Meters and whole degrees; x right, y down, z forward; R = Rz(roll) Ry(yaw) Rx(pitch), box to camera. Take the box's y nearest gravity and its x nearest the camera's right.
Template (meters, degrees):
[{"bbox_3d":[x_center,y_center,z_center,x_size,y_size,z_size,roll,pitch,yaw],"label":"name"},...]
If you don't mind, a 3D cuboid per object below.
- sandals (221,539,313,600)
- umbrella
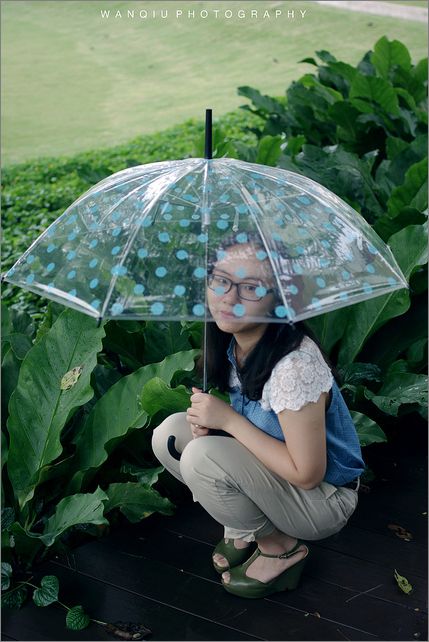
[{"bbox_3d":[0.126,0.606,1.338,0.203,0.121,0.099,2,12,-5],"label":"sandals"},{"bbox_3d":[0.002,-0.112,1.026,0.577,0.461,0.523,0,20,1],"label":"umbrella"}]
